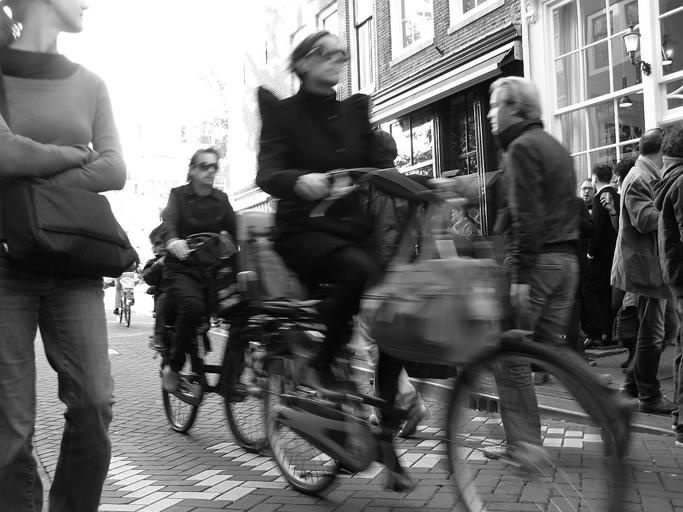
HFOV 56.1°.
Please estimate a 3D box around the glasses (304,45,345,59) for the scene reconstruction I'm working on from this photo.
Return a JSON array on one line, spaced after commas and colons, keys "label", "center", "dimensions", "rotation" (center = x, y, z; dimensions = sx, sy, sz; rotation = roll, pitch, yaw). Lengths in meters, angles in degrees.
[{"label": "glasses", "center": [-0.106, -1.211, 3.786], "dimensions": [0.119, 0.029, 0.115], "rotation": [-3, 2, -42]}]
